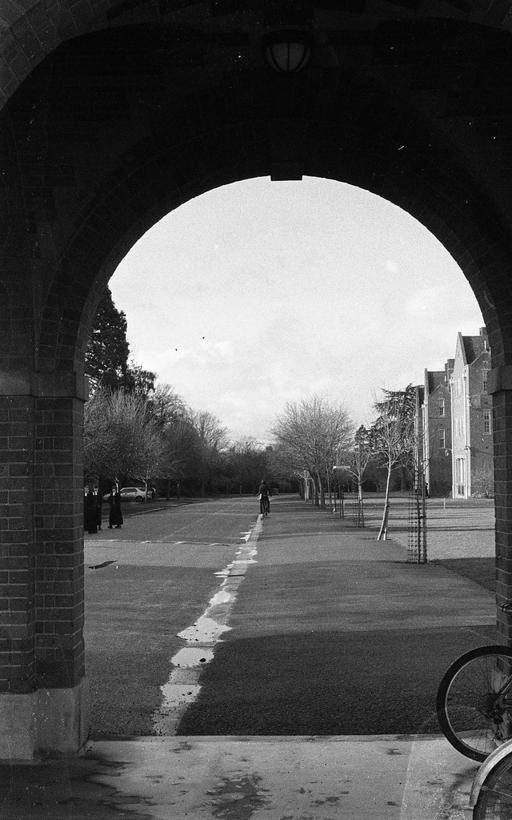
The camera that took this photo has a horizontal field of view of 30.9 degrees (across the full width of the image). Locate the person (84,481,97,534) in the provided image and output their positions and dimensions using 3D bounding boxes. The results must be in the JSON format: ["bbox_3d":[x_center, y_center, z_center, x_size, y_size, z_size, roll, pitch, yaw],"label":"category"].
[{"bbox_3d":[-5.431,3.305,30.523,0.378,1.446,1.706,-1,-4,-9],"label":"person"}]

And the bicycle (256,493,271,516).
[{"bbox_3d":[0.411,4.370,42.278,0.770,1.063,1.719,0,-10,2],"label":"bicycle"}]
